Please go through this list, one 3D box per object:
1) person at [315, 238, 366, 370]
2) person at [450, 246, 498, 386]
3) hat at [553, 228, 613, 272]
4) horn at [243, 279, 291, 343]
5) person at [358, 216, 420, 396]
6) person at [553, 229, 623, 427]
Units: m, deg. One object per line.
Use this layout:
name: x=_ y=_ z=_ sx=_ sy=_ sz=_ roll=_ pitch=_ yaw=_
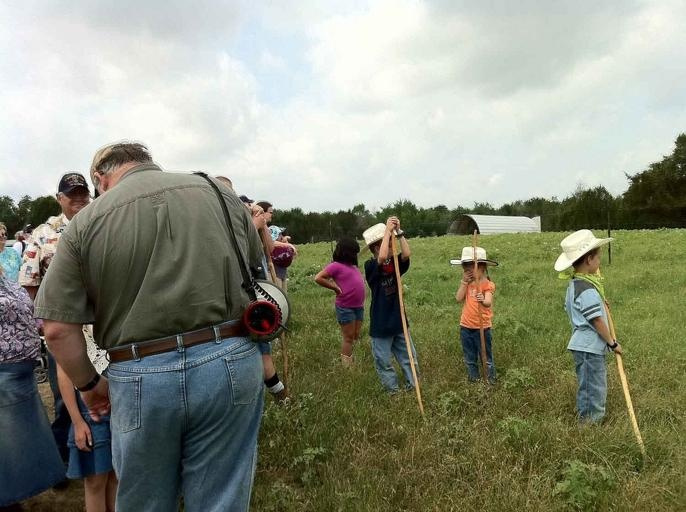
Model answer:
person: x=0.001 y=0.763 z=8.544 sx=0.682 sy=2.125 sz=0.630 roll=-3 pitch=6 yaw=-2
person: x=2.017 y=0.851 z=7.865 sx=0.593 sy=2.090 sz=1.138 roll=-1 pitch=6 yaw=13
hat: x=3.079 y=-0.165 z=6.605 sx=0.658 sy=0.257 sz=0.613 roll=-38 pitch=-9 yaw=-29
horn: x=-0.643 y=0.472 z=3.882 sx=0.476 sy=0.542 sz=0.144 roll=-7 pitch=5 yaw=-24
person: x=0.662 y=0.683 z=7.487 sx=0.660 sy=2.532 sz=1.072 roll=-2 pitch=6 yaw=2
person: x=3.044 y=0.887 z=6.414 sx=0.717 sy=2.377 sz=0.992 roll=0 pitch=7 yaw=26
